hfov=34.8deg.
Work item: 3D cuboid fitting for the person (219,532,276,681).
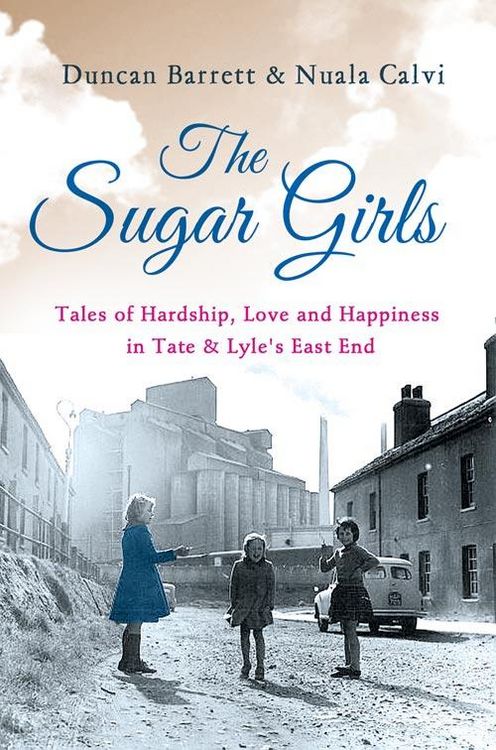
[{"bbox_3d":[0.014,2.186,7.515,0.454,1.335,0.644,1,-11,-2],"label":"person"}]

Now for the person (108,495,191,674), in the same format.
[{"bbox_3d":[-0.962,1.918,7.299,0.583,1.631,0.729,2,-11,-10],"label":"person"}]

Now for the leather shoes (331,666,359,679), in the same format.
[{"bbox_3d":[0.947,2.909,7.725,0.270,0.105,0.251,-1,-12,8],"label":"leather shoes"}]

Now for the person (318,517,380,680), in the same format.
[{"bbox_3d":[1.015,2.250,8.039,0.557,1.549,0.755,0,-11,6],"label":"person"}]

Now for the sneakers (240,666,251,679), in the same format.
[{"bbox_3d":[-0.030,2.767,7.379,0.091,0.119,0.241,1,-12,-1],"label":"sneakers"}]
